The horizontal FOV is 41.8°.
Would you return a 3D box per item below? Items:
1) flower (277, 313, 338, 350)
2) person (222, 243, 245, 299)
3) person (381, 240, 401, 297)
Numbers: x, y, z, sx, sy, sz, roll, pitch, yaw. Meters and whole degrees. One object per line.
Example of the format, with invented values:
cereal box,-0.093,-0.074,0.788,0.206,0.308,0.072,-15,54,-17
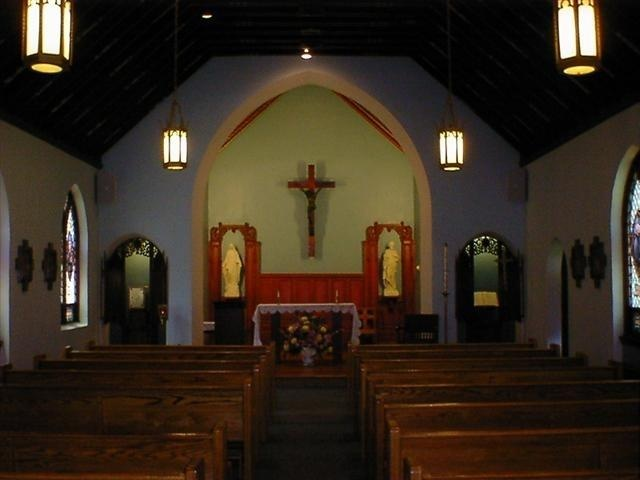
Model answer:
flower,-0.128,1.563,13.924,1.044,0.653,0.639,2,-6,-29
person,-1.772,0.668,16.988,0.458,1.078,1.030,0,-5,-5
person,1.459,0.627,17.311,0.382,1.145,0.782,-1,-5,5
